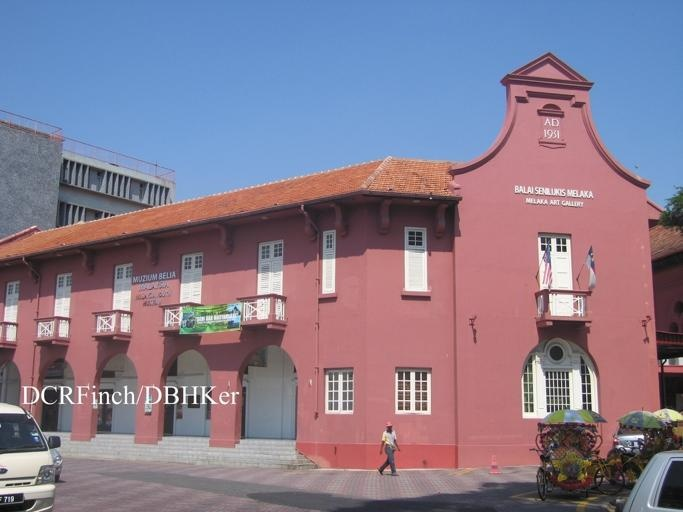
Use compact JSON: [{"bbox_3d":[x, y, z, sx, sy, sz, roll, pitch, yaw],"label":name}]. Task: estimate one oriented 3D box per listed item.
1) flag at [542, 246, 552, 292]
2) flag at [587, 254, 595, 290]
[{"bbox_3d":[7.949,0.352,27.969,0.367,1.809,1.273,-6,-16,16],"label":"flag"},{"bbox_3d":[9.518,0.607,27.546,0.238,1.249,0.724,-6,-16,16],"label":"flag"}]
